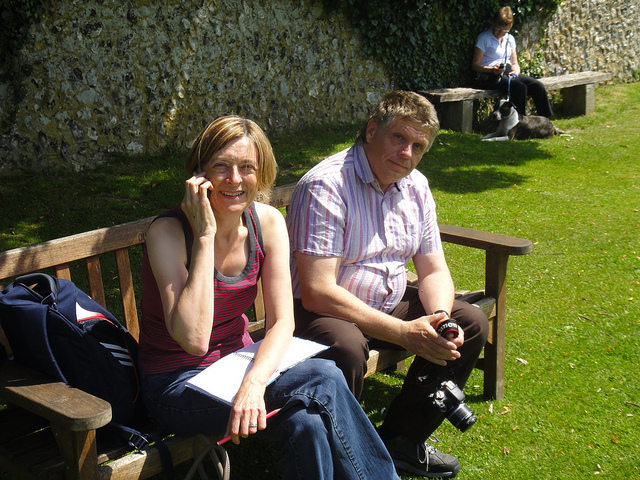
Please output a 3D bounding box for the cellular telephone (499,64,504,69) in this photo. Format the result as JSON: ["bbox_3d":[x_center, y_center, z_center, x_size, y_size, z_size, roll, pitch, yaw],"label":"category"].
[{"bbox_3d":[3.553,-3.359,10.398,0.083,0.063,0.128,3,11,40],"label":"cellular telephone"}]

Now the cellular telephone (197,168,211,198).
[{"bbox_3d":[-0.609,-0.294,2.783,0.031,0.148,0.102,-12,19,-36],"label":"cellular telephone"}]

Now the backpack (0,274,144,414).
[{"bbox_3d":[-1.216,0.512,2.698,0.587,0.700,0.489,6,17,26],"label":"backpack"}]

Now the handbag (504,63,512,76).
[{"bbox_3d":[3.729,-3.369,10.505,0.104,0.219,0.314,7,17,27],"label":"handbag"}]

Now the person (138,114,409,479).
[{"bbox_3d":[-0.374,0.239,2.591,0.952,1.600,1.057,-8,16,-24],"label":"person"}]

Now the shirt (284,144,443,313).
[{"bbox_3d":[0.336,-0.057,3.543,1.155,1.055,0.553,0,4,-29],"label":"shirt"}]

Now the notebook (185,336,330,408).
[{"bbox_3d":[-0.316,0.662,2.607,0.544,0.163,0.579,15,16,40],"label":"notebook"}]

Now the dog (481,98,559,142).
[{"bbox_3d":[3.627,-2.236,10.018,1.545,0.771,0.630,0,6,-4],"label":"dog"}]

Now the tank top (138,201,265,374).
[{"bbox_3d":[-0.664,0.268,2.786,0.416,0.814,0.578,15,35,12],"label":"tank top"}]
